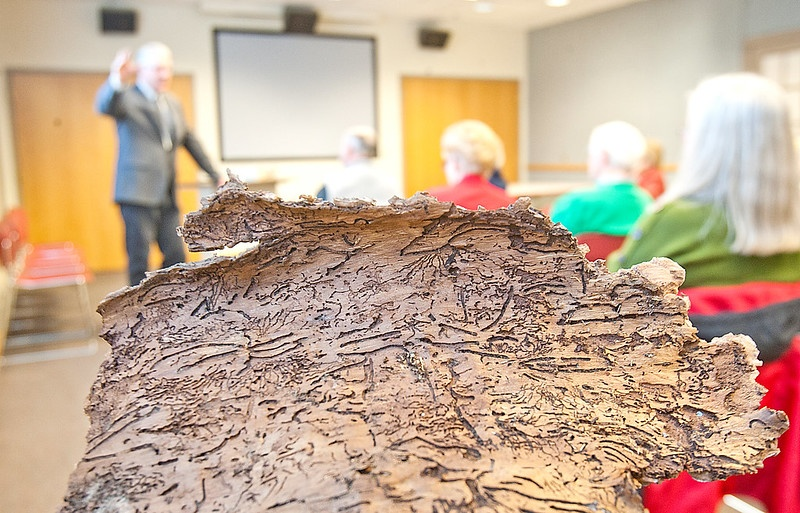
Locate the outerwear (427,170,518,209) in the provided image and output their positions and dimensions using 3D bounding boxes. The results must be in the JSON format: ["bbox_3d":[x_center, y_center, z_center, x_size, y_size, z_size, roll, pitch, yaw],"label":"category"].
[{"bbox_3d":[0.174,-0.160,1.906,0.198,0.078,0.178,0,8,7],"label":"outerwear"}]

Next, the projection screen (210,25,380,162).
[{"bbox_3d":[-0.164,-0.259,1.275,0.268,0.196,0.009,3,16,9],"label":"projection screen"}]

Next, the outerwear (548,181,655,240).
[{"bbox_3d":[0.538,-0.126,2.046,0.263,0.129,0.137,0,15,-26],"label":"outerwear"}]
